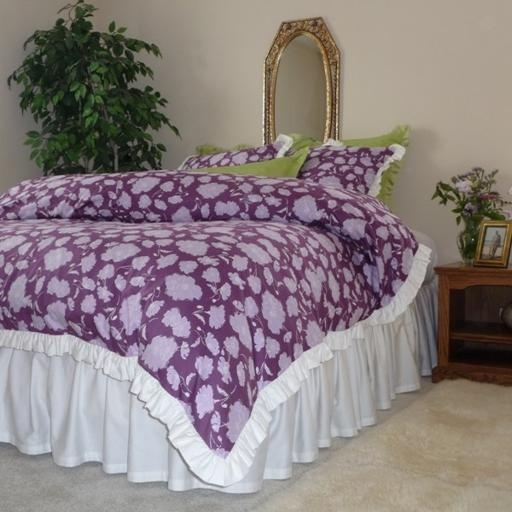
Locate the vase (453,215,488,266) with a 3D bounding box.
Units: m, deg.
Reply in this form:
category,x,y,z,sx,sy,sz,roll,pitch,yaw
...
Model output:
category,x,y,z,sx,sy,sz,roll,pitch,yaw
vase,0.952,-0.082,2.312,0.114,0.217,0.130,-9,16,-18
